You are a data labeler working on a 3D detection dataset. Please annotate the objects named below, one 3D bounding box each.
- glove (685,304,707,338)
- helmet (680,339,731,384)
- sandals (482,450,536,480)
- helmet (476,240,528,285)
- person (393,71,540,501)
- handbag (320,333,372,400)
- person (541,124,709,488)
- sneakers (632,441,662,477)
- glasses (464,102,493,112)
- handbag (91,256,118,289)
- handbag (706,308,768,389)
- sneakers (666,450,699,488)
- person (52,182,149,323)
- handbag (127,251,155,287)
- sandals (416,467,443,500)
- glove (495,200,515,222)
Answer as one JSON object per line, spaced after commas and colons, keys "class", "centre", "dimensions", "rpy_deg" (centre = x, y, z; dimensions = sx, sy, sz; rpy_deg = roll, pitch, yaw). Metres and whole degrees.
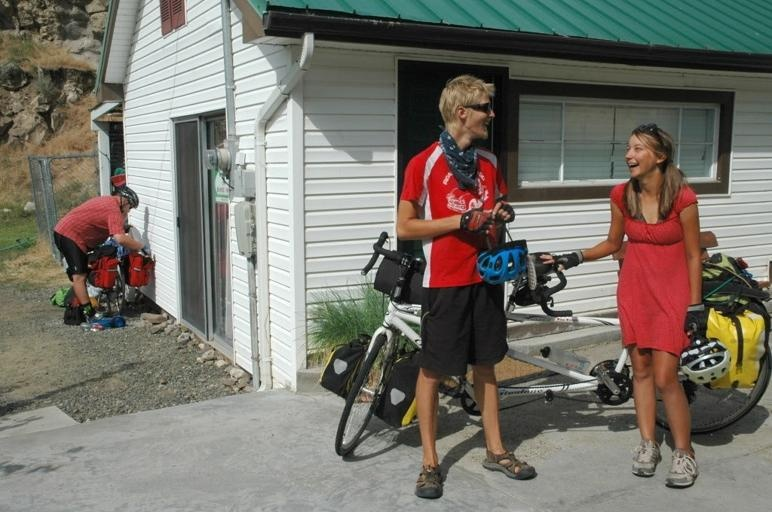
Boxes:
{"class": "glove", "centre": [2.288, 0.461, 4.844], "dimensions": [0.135, 0.247, 0.103], "rpy_deg": [2, 12, 21]}
{"class": "helmet", "centre": [2.463, 0.805, 4.970], "dimensions": [0.325, 0.238, 0.387], "rpy_deg": [-20, 21, 27]}
{"class": "sandals", "centre": [0.942, 1.595, 5.013], "dimensions": [0.334, 0.145, 0.186], "rpy_deg": [7, 8, 40]}
{"class": "helmet", "centre": [0.853, -0.026, 5.009], "dimensions": [0.377, 0.264, 0.500], "rpy_deg": [14, -5, -33]}
{"class": "person", "centre": [0.550, 0.156, 4.932], "dimensions": [0.872, 3.123, 0.823], "rpy_deg": [-4, 11, -8]}
{"class": "handbag", "centre": [-0.351, 0.852, 5.655], "dimensions": [0.326, 0.582, 0.406], "rpy_deg": [19, 3, -3]}
{"class": "person", "centre": [2.033, 0.311, 4.969], "dimensions": [0.701, 2.699, 0.902], "rpy_deg": [-4, 11, -7]}
{"class": "sneakers", "centre": [1.993, 1.536, 4.992], "dimensions": [0.233, 0.279, 0.196], "rpy_deg": [-1, 11, 8]}
{"class": "glasses", "centre": [0.688, -1.178, 4.871], "dimensions": [0.202, 0.074, 0.058], "rpy_deg": [-8, 12, -27]}
{"class": "handbag", "centre": [-4.386, 0.165, 10.358], "dimensions": [0.442, 0.633, 0.512], "rpy_deg": [3, 0, -37]}
{"class": "handbag", "centre": [2.771, 0.709, 5.361], "dimensions": [0.489, 0.675, 0.638], "rpy_deg": [3, -15, 11]}
{"class": "sneakers", "centre": [2.221, 1.551, 4.908], "dimensions": [0.191, 0.191, 0.438], "rpy_deg": [-5, 20, 35]}
{"class": "person", "centre": [-4.554, -0.114, 10.426], "dimensions": [1.239, 2.088, 1.163], "rpy_deg": [-8, 12, -26]}
{"class": "handbag", "centre": [-4.026, 0.137, 10.609], "dimensions": [0.570, 0.562, 0.357], "rpy_deg": [17, 10, 40]}
{"class": "sandals", "centre": [0.330, 1.689, 4.939], "dimensions": [0.201, 0.168, 0.470], "rpy_deg": [0, 0, 8]}
{"class": "glove", "centre": [0.876, -0.370, 4.812], "dimensions": [0.142, 0.176, 0.243], "rpy_deg": [-12, 2, 1]}
